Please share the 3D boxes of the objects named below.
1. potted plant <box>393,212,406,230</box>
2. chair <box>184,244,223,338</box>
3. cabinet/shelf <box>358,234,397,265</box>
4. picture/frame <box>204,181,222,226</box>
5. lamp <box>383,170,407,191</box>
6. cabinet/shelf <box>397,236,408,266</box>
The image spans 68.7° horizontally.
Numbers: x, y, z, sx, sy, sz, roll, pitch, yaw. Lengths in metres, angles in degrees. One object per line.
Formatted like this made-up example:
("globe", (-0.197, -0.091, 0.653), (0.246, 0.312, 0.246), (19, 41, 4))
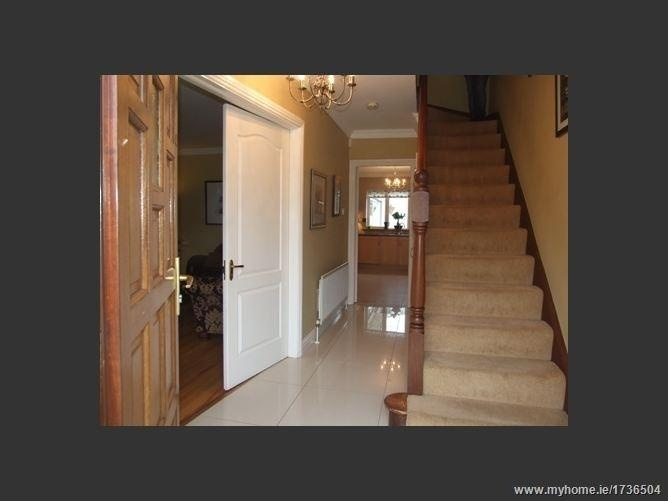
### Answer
("potted plant", (1.687, -0.767, 12.750), (0.388, 0.568, 0.398), (0, -9, 8))
("chair", (-1.277, 0.277, 4.744), (0.226, 0.420, 0.349), (3, -14, 13))
("cabinet/shelf", (1.006, -0.023, 11.703), (1.053, 0.780, 0.634), (0, 4, 14))
("picture/frame", (-1.842, -0.771, 7.911), (0.486, 0.742, 0.051), (-1, -10, -7))
("lamp", (1.582, -1.768, 12.521), (0.405, 0.572, 0.428), (5, 12, 13))
("cabinet/shelf", (1.627, 0.033, 11.607), (0.244, 0.632, 0.393), (-2, -10, 12))
